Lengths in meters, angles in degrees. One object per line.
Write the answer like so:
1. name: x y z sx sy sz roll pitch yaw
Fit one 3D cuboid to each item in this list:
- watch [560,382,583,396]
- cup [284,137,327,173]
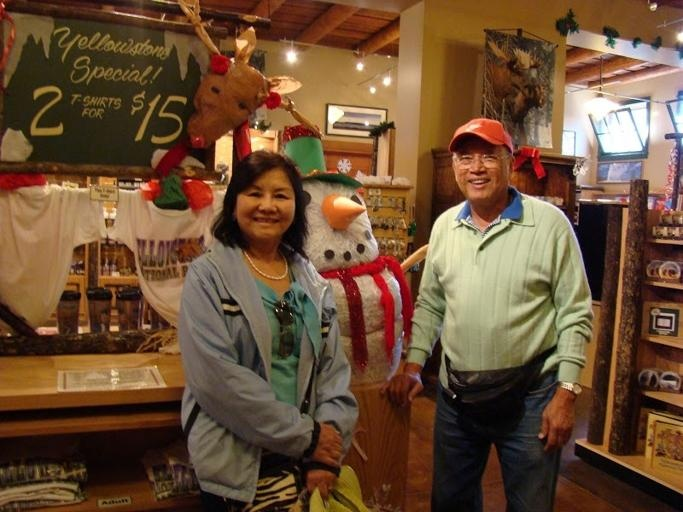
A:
1. watch: 0.969 0.559 2.207 0.061 0.036 0.067 8 -3 -29
2. cup: -0.181 -0.519 2.739 0.205 0.236 0.209 -1 5 0
